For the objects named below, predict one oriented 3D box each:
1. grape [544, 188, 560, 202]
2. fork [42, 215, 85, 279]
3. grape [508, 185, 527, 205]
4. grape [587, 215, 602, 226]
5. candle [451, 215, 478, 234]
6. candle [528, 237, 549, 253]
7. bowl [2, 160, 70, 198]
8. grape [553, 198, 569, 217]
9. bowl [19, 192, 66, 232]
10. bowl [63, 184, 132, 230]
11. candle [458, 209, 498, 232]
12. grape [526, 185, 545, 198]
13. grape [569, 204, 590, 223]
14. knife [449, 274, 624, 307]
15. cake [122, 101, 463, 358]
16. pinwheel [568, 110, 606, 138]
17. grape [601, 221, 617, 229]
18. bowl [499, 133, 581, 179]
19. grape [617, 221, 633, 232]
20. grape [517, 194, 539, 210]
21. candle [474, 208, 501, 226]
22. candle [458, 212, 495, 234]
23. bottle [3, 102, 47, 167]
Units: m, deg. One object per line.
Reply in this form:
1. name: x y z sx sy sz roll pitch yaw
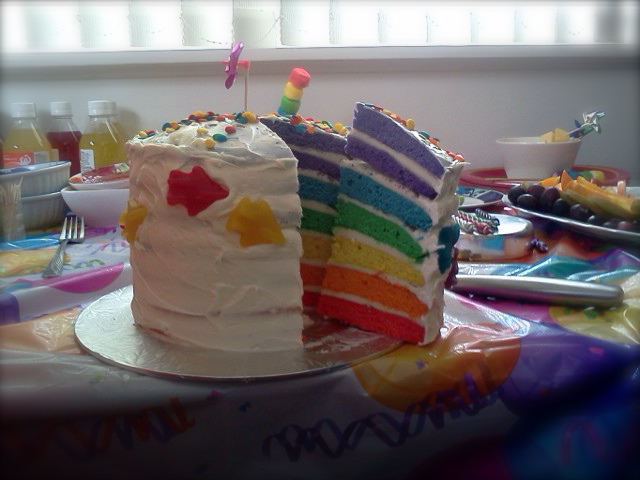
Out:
1. grape: 0.670 -0.127 1.389 0.041 0.036 0.025 -6 16 -19
2. fork: -0.719 0.008 1.370 0.067 0.059 0.414 -2 18 -22
3. grape: 0.603 -0.134 1.486 0.053 0.062 0.053 0 0 36
4. grape: 0.709 -0.050 1.242 0.025 0.007 0.024 -3 21 -6
5. candle: 0.372 -0.037 1.249 0.021 0.023 0.072 -24 41 -9
6. candle: 0.598 0.015 1.307 0.042 0.027 0.051 -7 41 -22
7. bowl: -0.884 -0.186 1.503 0.122 0.090 0.326 1 15 9
8. grape: 0.675 -0.087 1.349 0.044 0.052 0.043 -3 8 -10
9. bowl: -0.867 -0.093 1.521 0.126 0.061 0.125 -4 9 1
10. bowl: -0.694 -0.108 1.515 0.230 0.119 0.228 2 4 0
11. candle: 0.442 -0.051 1.354 0.130 0.023 0.019 32 45 22
12. grape: 0.644 -0.144 1.440 0.038 0.035 0.039 8 12 39
13. grape: 0.697 -0.070 1.290 0.042 0.035 0.048 4 14 -8
14. knife: 0.458 0.107 1.066 0.372 0.072 0.071 3 46 29
15. cake: -0.118 0.024 1.128 0.656 0.420 0.637 -4 13 -35
16. pinwheel: 1.054 -0.453 1.916 0.101 0.094 0.368 7 17 27
17. grape: 0.722 -0.035 1.199 0.018 0.021 0.018 -2 -2 5
18. bowl: 0.829 -0.310 1.852 0.257 0.133 0.256 -3 6 0
19. grape: 0.738 -0.031 1.164 0.027 0.015 0.027 0 19 -9
20. grape: 0.617 -0.111 1.427 0.040 0.031 0.052 -1 14 -6
21. candle: 0.493 -0.065 1.426 0.091 0.028 0.028 32 62 31
22. candle: 0.425 -0.057 1.343 0.022 0.031 0.126 18 18 -43
23. bottle: -1.019 -0.360 1.640 0.133 0.194 0.293 -10 17 -28
